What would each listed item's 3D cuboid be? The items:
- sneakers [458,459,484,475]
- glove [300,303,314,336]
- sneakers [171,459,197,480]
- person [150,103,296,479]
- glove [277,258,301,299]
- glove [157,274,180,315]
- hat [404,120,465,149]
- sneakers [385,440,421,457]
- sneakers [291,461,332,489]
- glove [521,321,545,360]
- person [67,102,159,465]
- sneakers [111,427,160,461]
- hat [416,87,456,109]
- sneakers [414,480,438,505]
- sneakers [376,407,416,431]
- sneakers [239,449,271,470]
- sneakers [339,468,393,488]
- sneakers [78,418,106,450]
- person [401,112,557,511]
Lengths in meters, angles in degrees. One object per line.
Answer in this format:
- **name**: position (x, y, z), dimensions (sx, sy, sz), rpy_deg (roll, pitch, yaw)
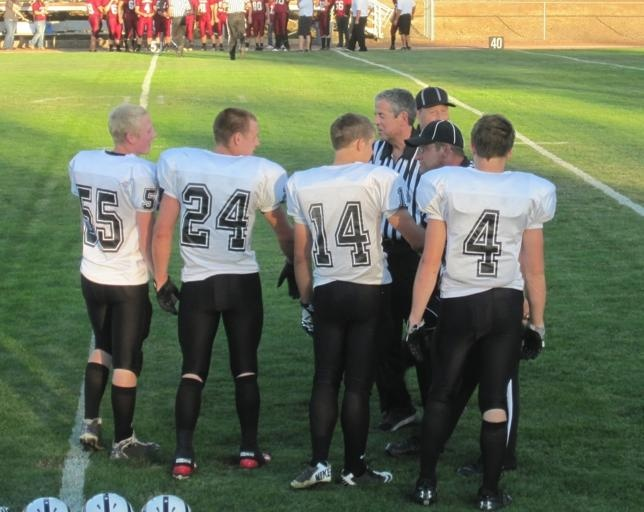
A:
- **sneakers**: position (0.948, 1.342, 5.166), dimensions (0.180, 0.138, 0.065), rpy_deg (5, -9, -12)
- **glove**: position (-0.093, 0.419, 5.342), dimensions (0.082, 0.128, 0.256), rpy_deg (5, 22, 0)
- **sneakers**: position (-0.850, 1.305, 4.993), dimensions (0.098, 0.141, 0.141), rpy_deg (6, 27, -7)
- **person**: position (-0.598, 0.341, 5.112), dimensions (0.881, 1.946, 0.567), rpy_deg (-2, 14, -14)
- **glove**: position (-0.216, 0.157, 5.446), dimensions (0.158, 0.276, 0.079), rpy_deg (2, -5, -5)
- **glove**: position (-1.026, 0.268, 5.290), dimensions (0.063, 0.242, 0.173), rpy_deg (22, 46, 39)
- **hat**: position (0.725, -0.757, 5.194), dimensions (0.285, 0.158, 0.190), rpy_deg (-1, 5, 3)
- **sneakers**: position (0.538, 1.257, 5.318), dimensions (0.235, 0.098, 0.093), rpy_deg (1, 54, -3)
- **sneakers**: position (-0.049, 1.327, 4.961), dimensions (0.266, 0.128, 0.129), rpy_deg (-5, 13, 3)
- **glove**: position (1.303, 0.513, 4.972), dimensions (0.162, 0.235, 0.107), rpy_deg (9, 10, 43)
- **person**: position (-1.316, 0.160, 5.257), dimensions (0.560, 2.190, 0.745), rpy_deg (-2, 14, -15)
- **sneakers**: position (-1.186, 1.238, 5.310), dimensions (0.366, 0.231, 0.135), rpy_deg (-3, 6, -21)
- **hat**: position (0.846, -1.132, 6.026), dimensions (0.247, 0.157, 0.191), rpy_deg (-1, 9, 29)
- **sneakers**: position (0.609, 1.391, 4.759), dimensions (0.082, 0.058, 0.159), rpy_deg (4, 14, 5)
- **sneakers**: position (0.531, 1.148, 5.730), dimensions (0.299, 0.144, 0.114), rpy_deg (-15, 13, -14)
- **sneakers**: position (-0.436, 1.274, 5.145), dimensions (0.095, 0.078, 0.180), rpy_deg (5, 9, 35)
- **sneakers**: position (0.276, 1.356, 5.042), dimensions (0.329, 0.140, 0.121), rpy_deg (-2, 1, -9)
- **sneakers**: position (-1.503, 1.148, 5.334), dimensions (0.096, 0.126, 0.271), rpy_deg (0, 19, -11)
- **person**: position (0.896, 0.325, 4.736), dimensions (0.782, 2.221, 0.614), rpy_deg (5, 14, 15)
